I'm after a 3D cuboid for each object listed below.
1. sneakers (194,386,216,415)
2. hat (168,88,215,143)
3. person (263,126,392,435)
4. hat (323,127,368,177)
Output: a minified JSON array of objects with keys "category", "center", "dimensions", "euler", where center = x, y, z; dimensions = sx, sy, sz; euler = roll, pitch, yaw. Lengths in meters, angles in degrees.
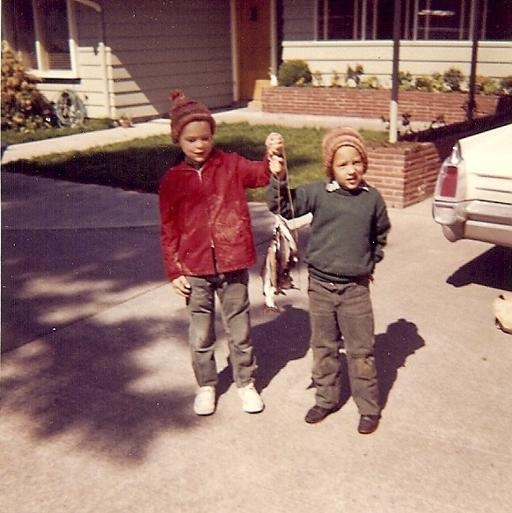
[{"category":"sneakers","center":[-0.300,0.830,2.939],"dimensions":[0.076,0.086,0.204],"euler":[1,4,-2]},{"category":"hat","center":[-0.356,-0.769,2.807],"dimensions":[0.241,0.298,0.432],"euler":[-4,15,-9]},{"category":"person","center":[0.384,0.159,2.627],"dimensions":[0.635,1.578,0.407],"euler":[-1,14,3]},{"category":"hat","center":[0.441,-0.508,2.547],"dimensions":[0.213,0.259,0.250],"euler":[1,15,10]}]
